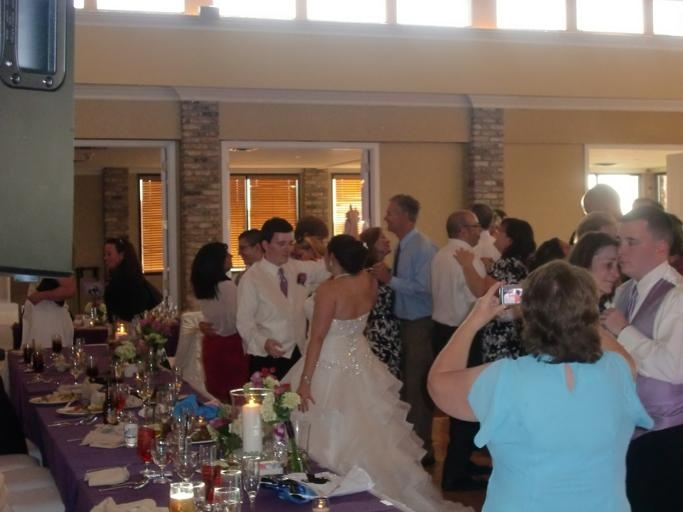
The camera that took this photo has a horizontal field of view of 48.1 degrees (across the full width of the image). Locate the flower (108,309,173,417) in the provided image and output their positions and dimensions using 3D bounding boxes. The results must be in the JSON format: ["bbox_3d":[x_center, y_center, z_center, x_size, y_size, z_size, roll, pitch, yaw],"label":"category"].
[{"bbox_3d":[-1.333,0.681,5.022,0.452,0.656,0.513,-3,-3,38],"label":"flower"}]

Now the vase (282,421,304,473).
[{"bbox_3d":[-0.220,0.854,3.454,0.063,0.208,0.154,-1,2,-19],"label":"vase"}]

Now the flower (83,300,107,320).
[{"bbox_3d":[-2.758,0.608,8.497,0.228,0.293,0.241,-1,-2,-4],"label":"flower"}]

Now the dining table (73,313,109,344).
[{"bbox_3d":[-2.710,0.779,8.287,0.547,0.242,0.573,4,-3,-13],"label":"dining table"}]

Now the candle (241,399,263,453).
[{"bbox_3d":[-0.395,0.757,3.359,0.083,0.214,0.067,-1,2,-6],"label":"candle"}]

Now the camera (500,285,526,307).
[{"bbox_3d":[0.685,0.157,3.072,0.091,0.084,0.060,-2,2,-25],"label":"camera"}]

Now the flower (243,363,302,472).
[{"bbox_3d":[-0.274,0.783,3.491,0.187,0.297,0.183,17,-24,-37],"label":"flower"}]

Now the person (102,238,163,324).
[{"bbox_3d":[-1.731,0.230,6.373,0.413,0.789,0.607,-8,-11,-2],"label":"person"}]
